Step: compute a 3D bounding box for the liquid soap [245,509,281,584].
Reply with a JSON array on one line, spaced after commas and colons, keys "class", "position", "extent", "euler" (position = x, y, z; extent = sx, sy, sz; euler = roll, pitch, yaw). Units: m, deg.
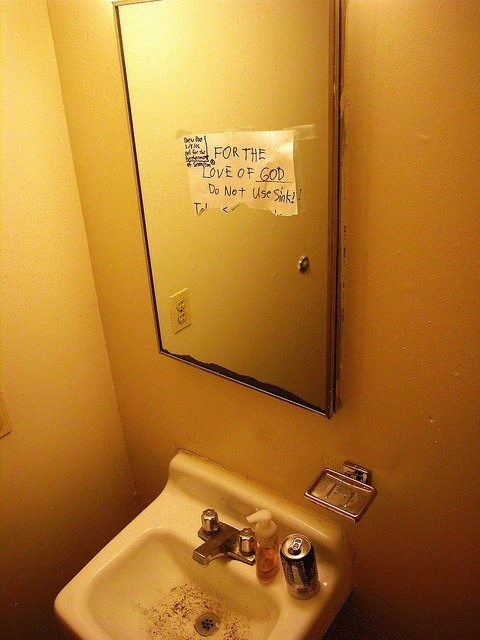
[{"class": "liquid soap", "position": [0.049, 0.421, 1.041], "extent": [0.056, 0.167, 0.146], "euler": [-5, 22, 1]}]

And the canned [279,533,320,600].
[{"class": "canned", "position": [0.112, 0.461, 0.944], "extent": [0.062, 0.111, 0.061], "euler": [-30, 31, -31]}]

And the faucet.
[{"class": "faucet", "position": [-0.030, 0.475, 1.080], "extent": [0.119, 0.059, 0.108], "euler": [14, 30, 33]}]
